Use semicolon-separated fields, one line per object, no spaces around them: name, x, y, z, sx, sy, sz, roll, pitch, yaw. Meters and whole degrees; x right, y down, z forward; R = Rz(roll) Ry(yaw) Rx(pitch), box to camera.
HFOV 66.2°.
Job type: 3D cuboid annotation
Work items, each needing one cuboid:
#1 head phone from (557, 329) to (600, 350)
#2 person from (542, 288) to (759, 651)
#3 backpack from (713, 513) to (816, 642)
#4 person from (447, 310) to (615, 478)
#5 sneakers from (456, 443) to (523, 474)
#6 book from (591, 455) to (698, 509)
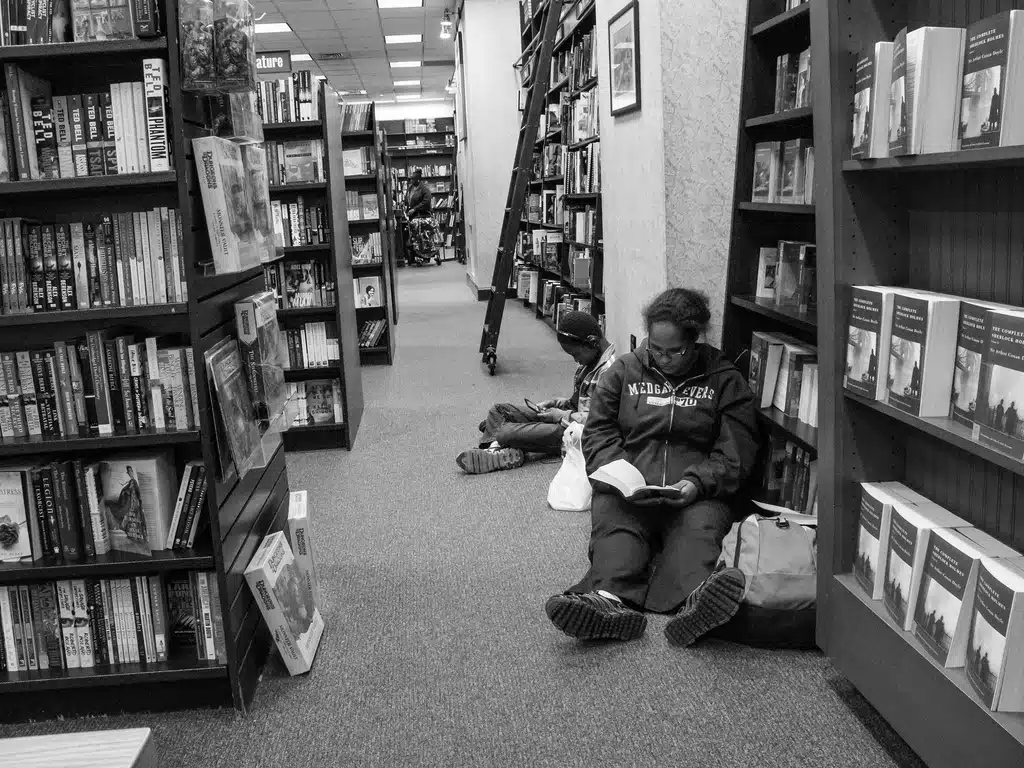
head phone;0.381;-0.258;4.484;0.144;0.084;0.124;-1;11;7
person;0.596;0.256;3.040;0.614;1.035;1.495;3;16;16
backpack;0.931;0.689;2.779;0.311;0.463;0.432;1;-3;4
person;0.155;0.048;4.690;1.061;0.877;0.489;-7;16;-26
sneakers;-0.144;0.411;4.573;0.393;0.160;0.191;-1;21;-12
book;0.525;0.400;3.065;0.221;0.094;0.219;22;6;37
